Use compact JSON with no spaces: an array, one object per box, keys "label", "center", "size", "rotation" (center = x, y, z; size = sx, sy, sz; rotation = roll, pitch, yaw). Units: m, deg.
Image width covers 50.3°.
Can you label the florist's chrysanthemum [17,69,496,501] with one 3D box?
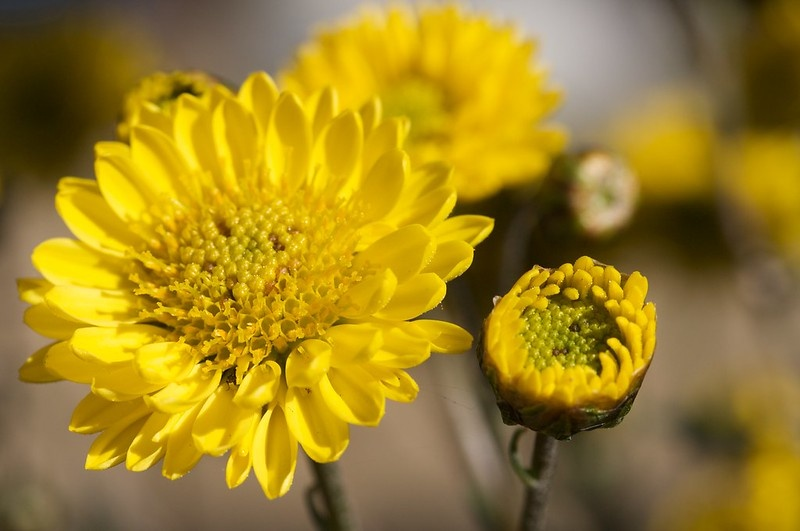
[{"label":"florist's chrysanthemum","center":[-0.149,0.017,0.858],"size":[0.451,0.182,0.426],"rotation":[22,61,5]}]
